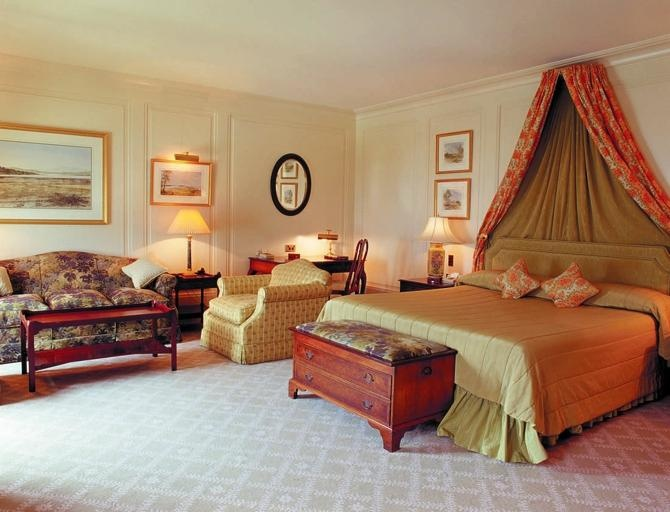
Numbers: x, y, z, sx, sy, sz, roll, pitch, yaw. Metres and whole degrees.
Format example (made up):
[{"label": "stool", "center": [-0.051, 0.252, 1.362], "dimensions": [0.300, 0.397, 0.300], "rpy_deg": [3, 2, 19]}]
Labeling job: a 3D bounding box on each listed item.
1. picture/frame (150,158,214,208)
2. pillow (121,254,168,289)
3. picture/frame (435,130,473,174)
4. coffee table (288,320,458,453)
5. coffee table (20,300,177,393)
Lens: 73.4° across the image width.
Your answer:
[{"label": "picture/frame", "center": [-2.046, -0.960, 5.877], "dimensions": [0.775, 0.516, 0.030], "rpy_deg": [-1, 8, -28]}, {"label": "pillow", "center": [-2.214, 0.183, 5.198], "dimensions": [0.386, 0.115, 0.368], "rpy_deg": [29, 49, 24]}, {"label": "picture/frame", "center": [1.562, -1.352, 5.821], "dimensions": [0.064, 0.562, 0.646], "rpy_deg": [-2, 6, -41]}, {"label": "coffee table", "center": [0.252, 0.914, 3.469], "dimensions": [0.622, 0.579, 1.197], "rpy_deg": [0, 3, -37]}, {"label": "coffee table", "center": [-2.221, 0.766, 4.259], "dimensions": [1.266, 0.602, 0.882], "rpy_deg": [-3, 8, -32]}]
